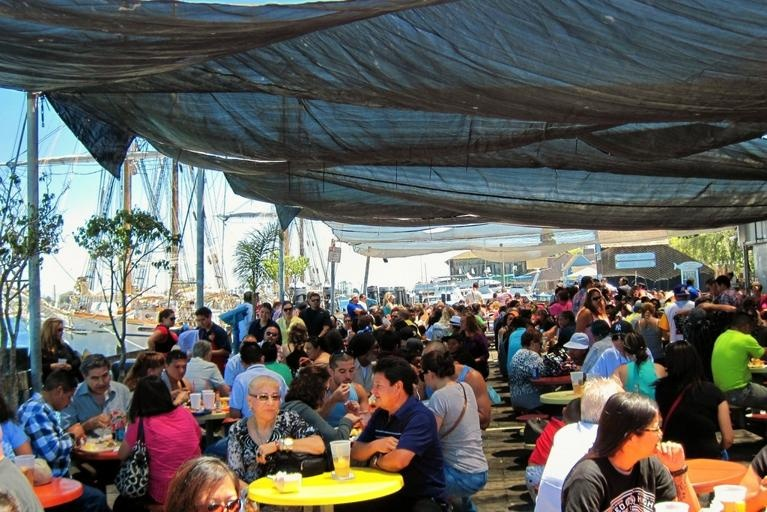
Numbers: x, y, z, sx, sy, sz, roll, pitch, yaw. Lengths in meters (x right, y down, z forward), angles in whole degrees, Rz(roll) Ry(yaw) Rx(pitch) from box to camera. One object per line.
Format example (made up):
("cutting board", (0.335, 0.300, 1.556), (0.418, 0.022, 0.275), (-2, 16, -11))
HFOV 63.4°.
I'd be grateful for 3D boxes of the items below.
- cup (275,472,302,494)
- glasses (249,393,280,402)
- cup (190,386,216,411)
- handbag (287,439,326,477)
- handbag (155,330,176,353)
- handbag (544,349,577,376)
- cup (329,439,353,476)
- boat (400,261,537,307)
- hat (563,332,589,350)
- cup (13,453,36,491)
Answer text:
("cup", (-0.713, 1.708, 4.664), (0.162, 0.115, 0.166), (2, -4, 0))
("glasses", (-0.974, 1.169, 5.129), (0.219, 0.062, 0.068), (-1, -4, -14))
("cup", (-2.290, 1.810, 7.874), (0.288, 0.200, 0.289), (-1, -4, 0))
("handbag", (-0.601, 1.676, 5.082), (0.256, 0.238, 0.272), (16, -21, -38))
("handbag", (-3.699, 1.448, 10.507), (0.271, 0.365, 0.418), (1, 0, 0))
("handbag", (2.752, 1.703, 9.812), (0.514, 0.309, 0.184), (18, 28, -46))
("cup", (-0.333, 1.596, 4.860), (0.146, 0.314, 0.205), (-2, -4, -5))
("boat", (7.134, 2.102, 48.264), (6.921, 2.243, 4.931), (3, -5, -41))
("hat", (3.115, 1.348, 9.879), (0.272, 0.164, 0.361), (-7, -14, 43))
("cup", (-2.688, 1.631, 4.655), (0.114, 0.225, 0.331), (0, -5, -33))
